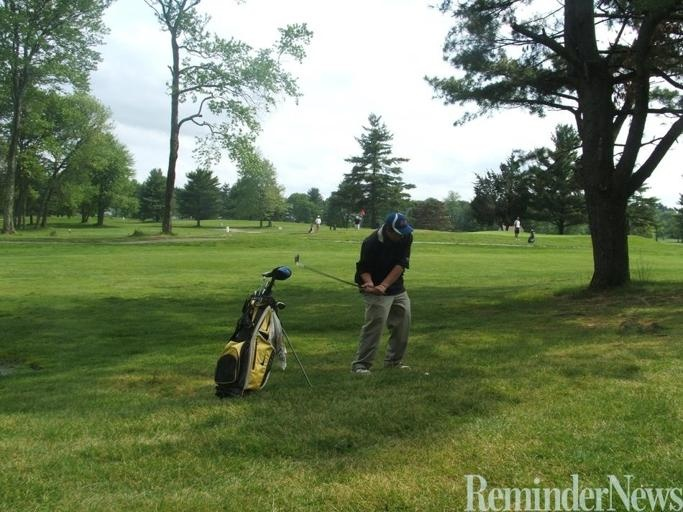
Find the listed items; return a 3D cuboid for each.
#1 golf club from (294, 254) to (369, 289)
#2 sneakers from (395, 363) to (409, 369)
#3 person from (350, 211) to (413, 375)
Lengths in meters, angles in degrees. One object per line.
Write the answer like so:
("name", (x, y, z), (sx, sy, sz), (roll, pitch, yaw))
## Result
("golf club", (-0.418, 0.519, 18.893), (0.382, 0.278, 2.539), (-33, -29, 17))
("sneakers", (1.009, 1.852, 10.090), (0.217, 0.072, 0.092), (-1, -32, -7))
("person", (0.706, 0.637, 10.074), (1.153, 2.638, 0.876), (-7, 15, -17))
